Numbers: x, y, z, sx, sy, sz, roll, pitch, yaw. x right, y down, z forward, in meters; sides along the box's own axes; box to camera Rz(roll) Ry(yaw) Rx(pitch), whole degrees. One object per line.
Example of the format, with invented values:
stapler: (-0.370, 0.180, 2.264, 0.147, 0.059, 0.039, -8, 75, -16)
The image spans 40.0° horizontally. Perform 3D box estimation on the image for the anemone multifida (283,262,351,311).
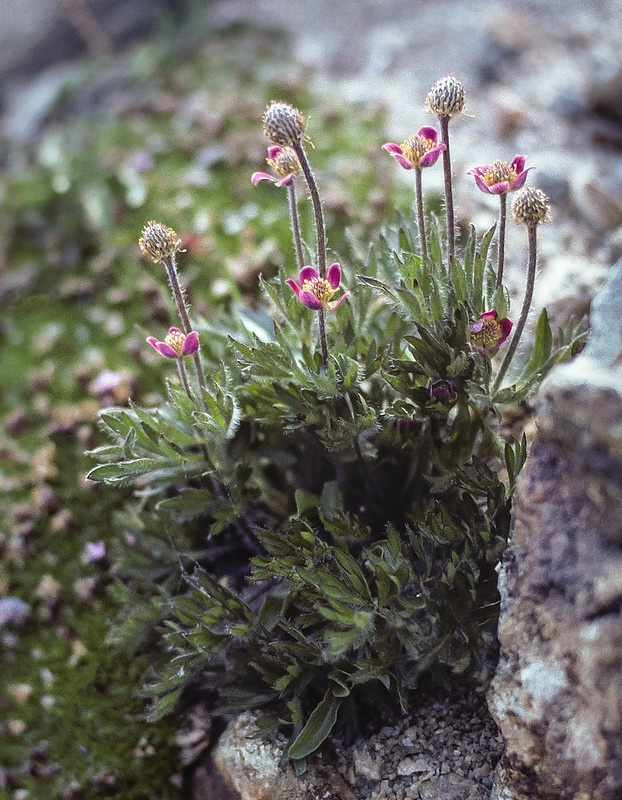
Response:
anemone multifida: (0.015, -0.238, 1.812, 0.120, 0.063, 0.123, 0, 20, 3)

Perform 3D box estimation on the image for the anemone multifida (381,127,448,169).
anemone multifida: (0.236, -0.544, 1.879, 0.126, 0.117, 0.056, -19, 87, 0)

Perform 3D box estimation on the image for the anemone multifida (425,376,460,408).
anemone multifida: (0.299, -0.021, 1.882, 0.066, 0.049, 0.049, -17, 85, 23)

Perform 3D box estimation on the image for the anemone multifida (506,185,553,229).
anemone multifida: (0.455, -0.396, 1.765, 0.093, 0.086, 0.081, 2, 34, 7)
